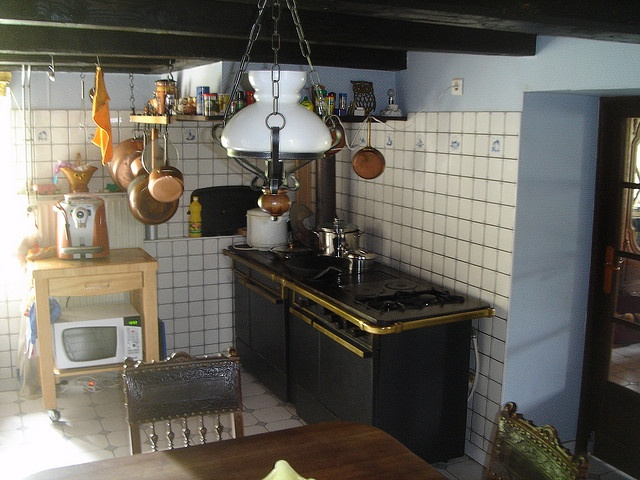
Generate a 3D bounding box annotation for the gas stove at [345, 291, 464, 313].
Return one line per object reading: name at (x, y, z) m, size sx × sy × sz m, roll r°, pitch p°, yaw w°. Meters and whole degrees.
gas stove at (0.562, 0.370, 3.212) m, size 0.674 × 0.063 × 0.280 m, roll -7°, pitch 13°, yaw -21°

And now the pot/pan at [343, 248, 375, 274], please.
pot/pan at (0.302, 0.153, 3.817) m, size 0.183 × 0.111 × 0.187 m, roll -1°, pitch 14°, yaw -8°

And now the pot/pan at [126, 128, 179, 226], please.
pot/pan at (-1.038, -0.336, 3.194) m, size 0.203 × 0.651 × 0.369 m, roll -5°, pitch 15°, yaw -39°

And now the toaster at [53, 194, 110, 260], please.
toaster at (-1.794, -0.095, 3.964) m, size 0.463 × 0.525 × 0.478 m, roll -2°, pitch 5°, yaw -20°

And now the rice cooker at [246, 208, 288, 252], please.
rice cooker at (-0.413, -0.082, 4.441) m, size 0.361 × 0.296 × 0.356 m, roll 0°, pitch 4°, yaw 0°

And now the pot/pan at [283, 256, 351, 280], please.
pot/pan at (-0.004, 0.202, 3.668) m, size 0.338 × 0.086 × 0.398 m, roll -3°, pitch 13°, yaw -27°

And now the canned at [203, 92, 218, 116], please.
canned at (-0.767, -0.956, 3.701) m, size 0.126 × 0.157 × 0.122 m, roll -12°, pitch 16°, yaw -36°

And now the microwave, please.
microwave at (-1.754, 0.680, 4.158) m, size 0.862 × 0.517 × 0.603 m, roll -4°, pitch 9°, yaw -26°
